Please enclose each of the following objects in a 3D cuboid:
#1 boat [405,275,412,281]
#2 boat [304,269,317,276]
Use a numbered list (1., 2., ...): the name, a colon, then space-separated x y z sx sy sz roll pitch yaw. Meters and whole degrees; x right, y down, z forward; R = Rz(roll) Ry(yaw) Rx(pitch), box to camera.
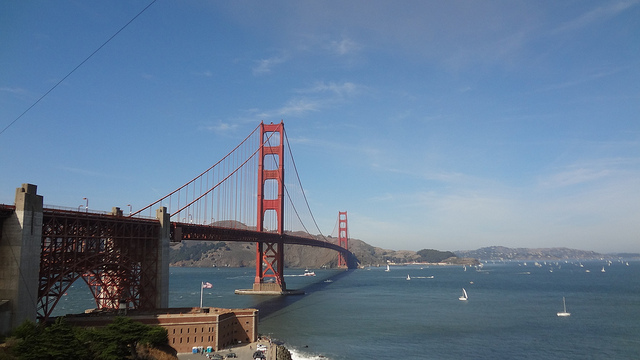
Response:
1. boat: 42.014 46.236 215.256 5.792 1.358 4.277 -2 17 11
2. boat: -5.840 48.919 240.041 4.352 3.716 43.063 0 -13 -3
